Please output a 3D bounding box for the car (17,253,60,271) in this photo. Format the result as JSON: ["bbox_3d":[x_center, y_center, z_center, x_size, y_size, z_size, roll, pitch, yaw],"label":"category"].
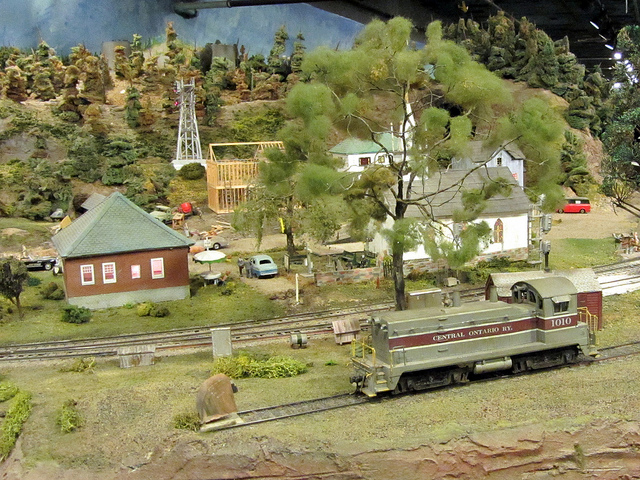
[{"bbox_3d":[-22.305,1.735,55.296,2.839,0.980,1.665,-3,17,-9],"label":"car"}]

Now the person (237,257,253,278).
[{"bbox_3d":[-5.829,2.209,53.897,1.332,1.686,0.473,4,20,18],"label":"person"}]

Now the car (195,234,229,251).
[{"bbox_3d":[-9.182,0.192,59.876,2.379,0.870,1.362,1,6,-10],"label":"car"}]

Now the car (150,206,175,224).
[{"bbox_3d":[-14.859,-2.443,66.321,1.357,1.010,2.076,6,8,14],"label":"car"}]

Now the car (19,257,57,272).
[{"bbox_3d":[-22.249,1.949,55.084,2.306,0.716,1.333,1,4,-13],"label":"car"}]

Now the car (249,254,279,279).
[{"bbox_3d":[-4.294,2.096,53.112,1.910,1.655,1.934,-4,5,-8],"label":"car"}]
